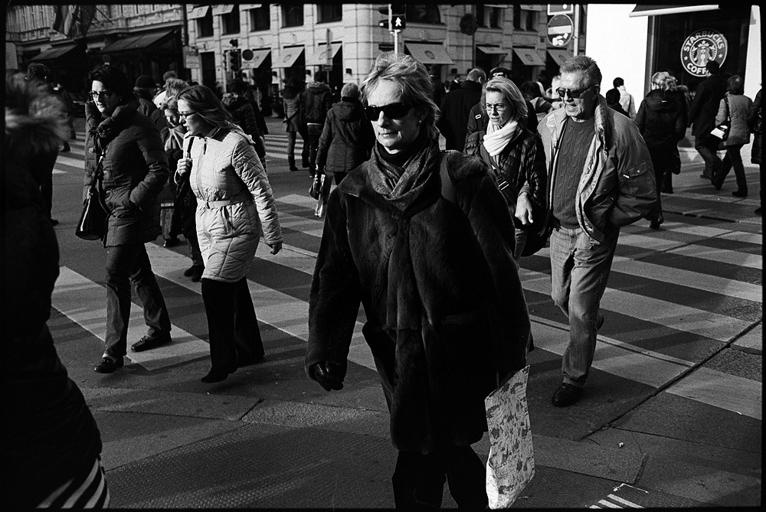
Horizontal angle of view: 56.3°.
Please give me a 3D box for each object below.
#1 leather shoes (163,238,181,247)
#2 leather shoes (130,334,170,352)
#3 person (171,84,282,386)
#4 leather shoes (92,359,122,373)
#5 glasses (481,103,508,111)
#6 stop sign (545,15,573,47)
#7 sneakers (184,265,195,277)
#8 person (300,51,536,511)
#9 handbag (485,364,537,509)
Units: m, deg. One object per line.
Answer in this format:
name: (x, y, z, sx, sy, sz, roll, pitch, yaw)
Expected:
leather shoes: (-3.016, -0.211, 10.186, 0.093, 0.115, 0.276, 2, 16, 8)
leather shoes: (-2.135, 0.791, 6.677, 0.405, 0.145, 0.131, -10, 19, -39)
person: (-1.264, -0.212, 5.986, 0.735, 2.384, 0.775, -7, 16, -16)
leather shoes: (-2.362, 0.956, 6.180, 0.100, 0.114, 0.257, 0, -7, 32)
glasses: (1.002, -1.274, 6.119, 0.133, 0.041, 0.136, 5, 7, 37)
stop sign: (3.087, -3.949, 12.409, 0.386, 0.529, 0.850, -6, 16, -15)
sneakers: (-2.395, 0.176, 8.726, 0.075, 0.148, 0.215, 9, 7, -36)
person: (0.176, 0.169, 3.724, 1.134, 2.353, 0.673, 2, 16, 15)
handbag: (0.643, 0.948, 3.670, 0.175, 0.720, 0.399, 9, 19, 36)
